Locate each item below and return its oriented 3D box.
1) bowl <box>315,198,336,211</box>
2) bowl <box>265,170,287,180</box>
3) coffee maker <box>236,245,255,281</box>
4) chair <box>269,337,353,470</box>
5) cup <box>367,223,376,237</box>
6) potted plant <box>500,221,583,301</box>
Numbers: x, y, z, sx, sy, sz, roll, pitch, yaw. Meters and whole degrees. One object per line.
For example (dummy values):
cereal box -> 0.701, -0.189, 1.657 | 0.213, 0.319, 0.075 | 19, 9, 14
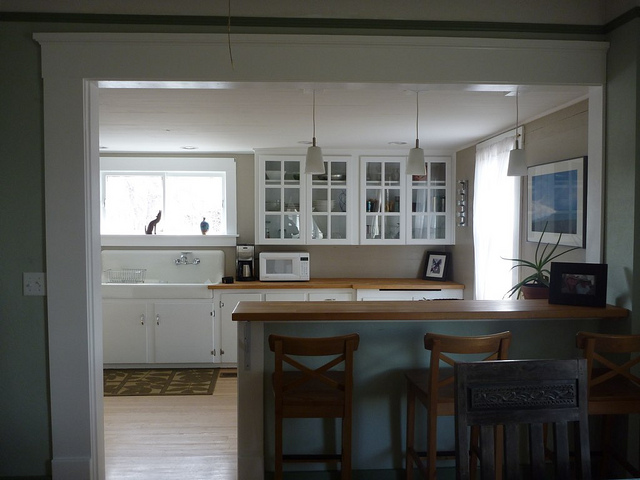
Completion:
bowl -> 0.058, -0.373, 6.163 | 0.150, 0.092, 0.151 | 0, -1, 0
bowl -> -0.484, -0.700, 6.159 | 0.224, 0.103, 0.056 | -3, 9, -10
coffee maker -> -0.819, 0.245, 6.171 | 0.202, 0.375, 0.213 | -2, 9, -9
chair -> -0.063, 1.045, 3.590 | 0.497, 1.027, 0.543 | -2, 9, -5
cup -> 0.561, -0.104, 6.196 | 0.143, 0.138, 0.073 | -1, 2, -4
potted plant -> 1.629, 0.162, 4.238 | 0.586, 0.496, 0.586 | 1, 3, -10
